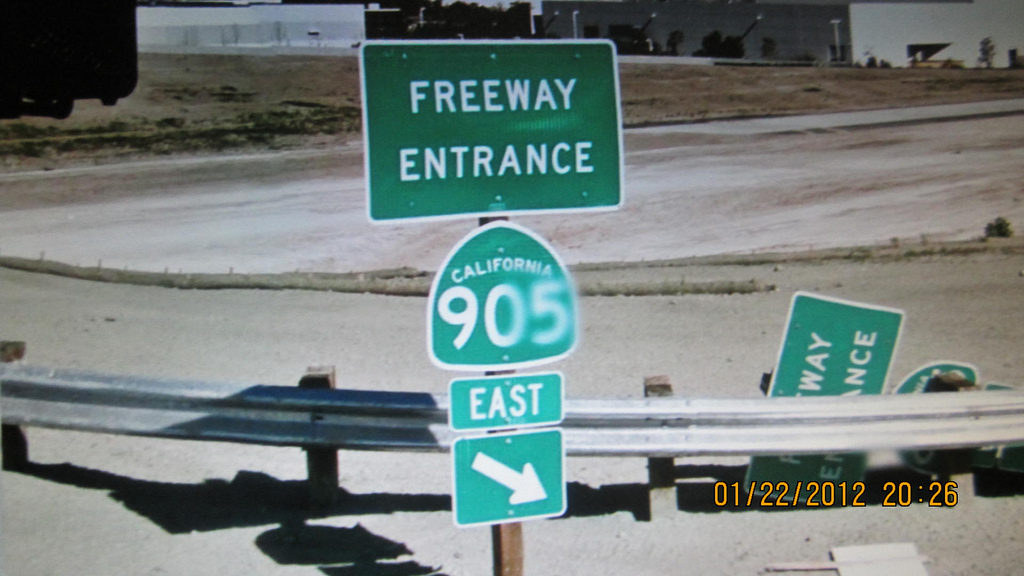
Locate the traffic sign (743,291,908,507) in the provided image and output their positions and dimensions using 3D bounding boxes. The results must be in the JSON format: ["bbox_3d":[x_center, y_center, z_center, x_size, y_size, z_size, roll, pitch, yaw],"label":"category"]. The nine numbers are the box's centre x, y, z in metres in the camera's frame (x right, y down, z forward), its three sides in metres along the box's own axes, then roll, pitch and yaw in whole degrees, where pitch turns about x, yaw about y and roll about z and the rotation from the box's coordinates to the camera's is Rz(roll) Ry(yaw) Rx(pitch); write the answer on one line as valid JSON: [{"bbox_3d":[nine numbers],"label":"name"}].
[{"bbox_3d":[2.537,0.888,10.510,1.095,1.617,0.807,2,12,13],"label":"traffic sign"}]

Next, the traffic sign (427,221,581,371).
[{"bbox_3d":[-0.069,0.072,8.814,1.344,0.976,0.038,-3,1,-40],"label":"traffic sign"}]

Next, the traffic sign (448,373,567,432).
[{"bbox_3d":[-0.025,0.761,8.874,0.958,0.388,0.058,-10,-18,34],"label":"traffic sign"}]

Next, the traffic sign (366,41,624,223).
[{"bbox_3d":[-0.107,-1.061,8.830,2.273,1.191,0.046,-8,11,-40],"label":"traffic sign"}]
